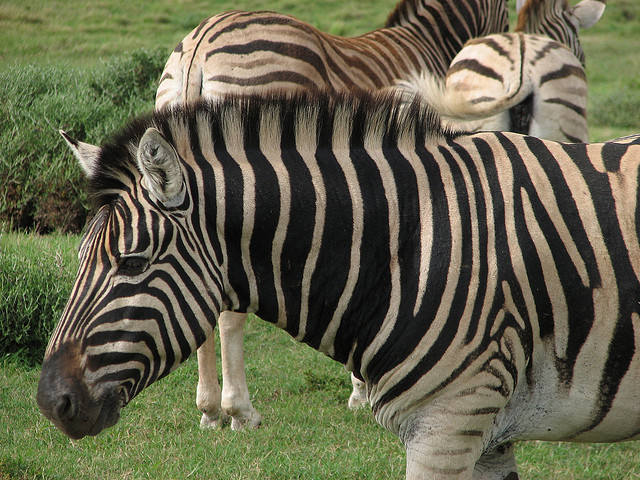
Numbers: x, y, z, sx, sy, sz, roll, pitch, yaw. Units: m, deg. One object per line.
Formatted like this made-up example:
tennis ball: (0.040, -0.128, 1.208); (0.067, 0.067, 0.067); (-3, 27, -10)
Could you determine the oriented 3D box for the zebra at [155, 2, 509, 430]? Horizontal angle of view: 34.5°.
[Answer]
zebra: (0.046, -1.503, 10.682); (1.480, 4.651, 5.503); (9, 18, 38)
